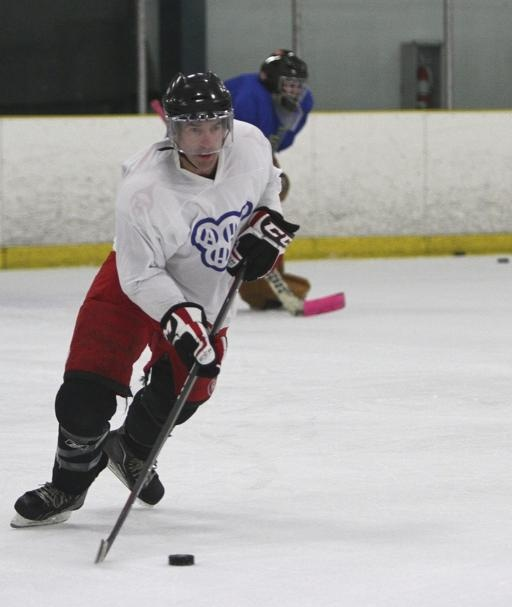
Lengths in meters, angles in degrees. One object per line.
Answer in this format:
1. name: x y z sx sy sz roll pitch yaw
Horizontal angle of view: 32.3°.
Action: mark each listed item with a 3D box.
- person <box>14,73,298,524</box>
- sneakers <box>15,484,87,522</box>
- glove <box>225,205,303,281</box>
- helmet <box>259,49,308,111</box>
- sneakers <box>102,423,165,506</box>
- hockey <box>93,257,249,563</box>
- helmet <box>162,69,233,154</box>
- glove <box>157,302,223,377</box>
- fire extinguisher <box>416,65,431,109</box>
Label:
1. person: -0.171 0.028 1.500 0.489 0.823 0.366 -5 27 -26
2. sneakers: -0.347 0.336 1.487 0.050 0.059 0.151 16 6 33
3. glove: 0.008 -0.108 1.626 0.095 0.155 0.060 40 3 -3
4. helmet: 0.135 -1.018 4.011 0.221 0.238 0.257 -7 26 -35
5. sneakers: -0.202 0.291 1.589 0.079 0.171 0.064 -22 17 46
6. hockey: -0.152 0.193 1.516 0.096 0.013 0.589 -5 44 39
7. helmet: -0.087 -0.320 1.465 0.130 0.136 0.150 -8 30 -2
8. glove: -0.092 0.052 1.368 0.083 0.044 0.112 -21 52 -15
9. fire extinguisher: 1.049 -1.372 5.528 0.074 0.278 0.027 7 30 20
